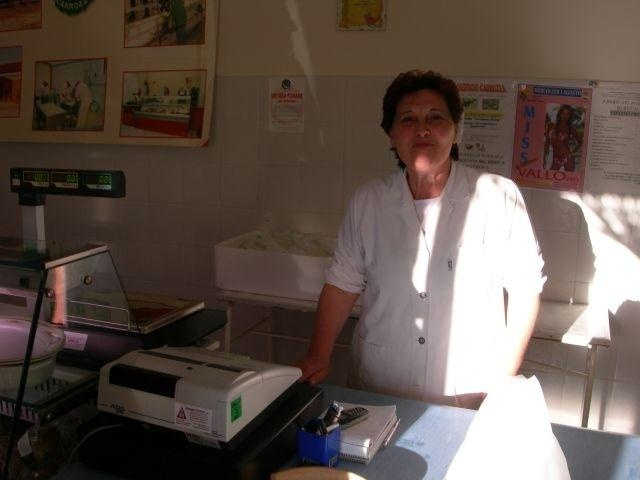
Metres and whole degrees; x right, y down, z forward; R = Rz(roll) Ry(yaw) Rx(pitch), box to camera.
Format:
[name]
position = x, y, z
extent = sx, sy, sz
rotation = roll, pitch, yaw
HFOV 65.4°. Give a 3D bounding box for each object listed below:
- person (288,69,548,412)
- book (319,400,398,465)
[person]
position = 0.417, 0.002, 1.945
extent = 0.852, 1.296, 0.347
rotation = 4, 8, 7
[book]
position = 0.141, 0.553, 1.467
extent = 0.133, 0.045, 0.142
rotation = 3, 14, 27
